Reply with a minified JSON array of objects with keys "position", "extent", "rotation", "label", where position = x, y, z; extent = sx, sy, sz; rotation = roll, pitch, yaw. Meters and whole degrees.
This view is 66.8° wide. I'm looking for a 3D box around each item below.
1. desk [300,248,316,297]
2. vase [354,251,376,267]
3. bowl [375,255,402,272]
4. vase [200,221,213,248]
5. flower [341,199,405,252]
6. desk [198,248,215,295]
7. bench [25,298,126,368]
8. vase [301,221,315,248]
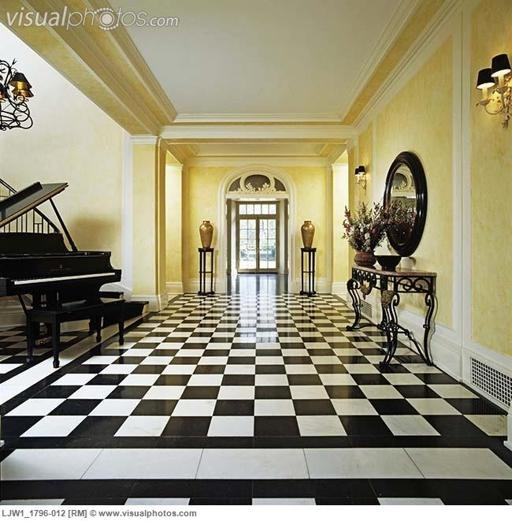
[{"position":[1.159,0.228,8.974],"extent":[0.374,1.091,0.414],"rotation":[1,-3,1],"label":"desk"},{"position":[1.406,-0.017,4.921],"extent":[0.185,0.195,0.400],"rotation":[-1,4,-13],"label":"vase"},{"position":[1.494,0.022,4.366],"extent":[0.183,0.132,0.196],"rotation":[0,0,0],"label":"bowl"},{"position":[-1.154,-0.591,8.991],"extent":[0.284,0.635,0.239],"rotation":[-1,3,-13],"label":"vase"},{"position":[1.503,-0.433,4.991],"extent":[0.632,0.689,0.708],"rotation":[0,3,17],"label":"flower"},{"position":[-1.200,0.277,9.323],"extent":[0.504,1.120,0.491],"rotation":[0,-1,-41],"label":"desk"},{"position":[-1.847,0.814,4.310],"extent":[1.014,0.569,0.443],"rotation":[-3,-15,8],"label":"bench"},{"position":[1.164,-0.587,8.899],"extent":[0.297,0.625,0.336],"rotation":[1,4,17],"label":"vase"}]
